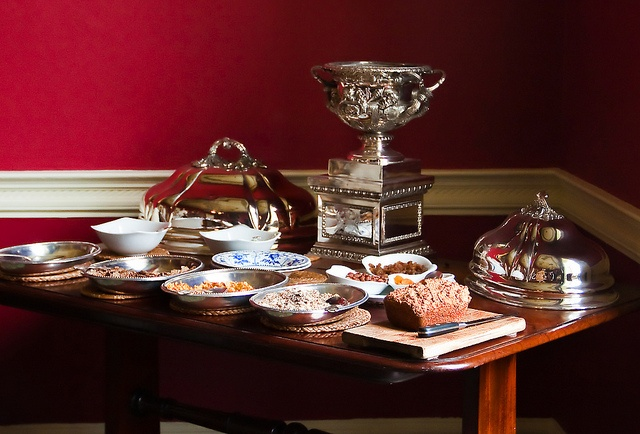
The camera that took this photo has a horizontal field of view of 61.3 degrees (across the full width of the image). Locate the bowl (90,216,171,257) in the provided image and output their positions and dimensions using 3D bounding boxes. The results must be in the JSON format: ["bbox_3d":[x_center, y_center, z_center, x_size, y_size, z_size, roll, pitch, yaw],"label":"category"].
[{"bbox_3d":[-0.507,0.052,1.464,0.158,0.048,0.150,1,3,0],"label":"bowl"}]

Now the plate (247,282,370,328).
[{"bbox_3d":[-0.022,0.172,1.056,0.231,0.079,0.138,1,0,-6],"label":"plate"}]

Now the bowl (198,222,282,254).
[{"bbox_3d":[-0.264,0.057,1.464,0.151,0.042,0.130,4,15,-4],"label":"bowl"}]

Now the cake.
[{"bbox_3d":[0.196,0.162,1.028,0.151,0.060,0.081,-3,8,-33],"label":"cake"}]

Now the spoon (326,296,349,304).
[{"bbox_3d":[0.030,0.164,1.053,0.024,0.005,0.026,-2,5,-42],"label":"spoon"}]

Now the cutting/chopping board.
[{"bbox_3d":[0.216,0.185,0.940,0.195,0.019,0.109,-4,6,-38],"label":"cutting/chopping board"}]

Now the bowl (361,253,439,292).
[{"bbox_3d":[0.177,0.130,1.286,0.123,0.028,0.092,-6,14,-27],"label":"bowl"}]
